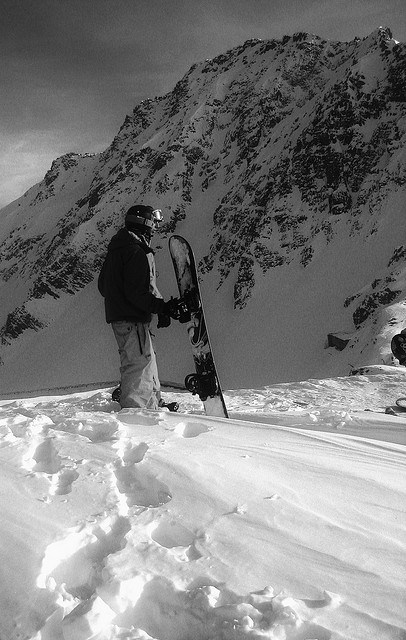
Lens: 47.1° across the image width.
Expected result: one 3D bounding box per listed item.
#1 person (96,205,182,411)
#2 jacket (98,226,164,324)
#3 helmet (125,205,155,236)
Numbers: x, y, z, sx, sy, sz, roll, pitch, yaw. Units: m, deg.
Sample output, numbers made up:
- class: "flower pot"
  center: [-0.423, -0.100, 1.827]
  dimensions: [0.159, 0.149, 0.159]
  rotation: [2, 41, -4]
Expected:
- class: "person"
  center: [-0.557, 0.030, 4.303]
  dimensions: [0.677, 2.138, 0.915]
  rotation: [-11, 10, -8]
- class: "jacket"
  center: [-0.668, -0.394, 4.164]
  dimensions: [0.521, 0.891, 0.678]
  rotation: [-11, 10, -11]
- class: "helmet"
  center: [-0.578, -0.917, 4.297]
  dimensions: [0.237, 0.276, 0.298]
  rotation: [13, 23, 38]
